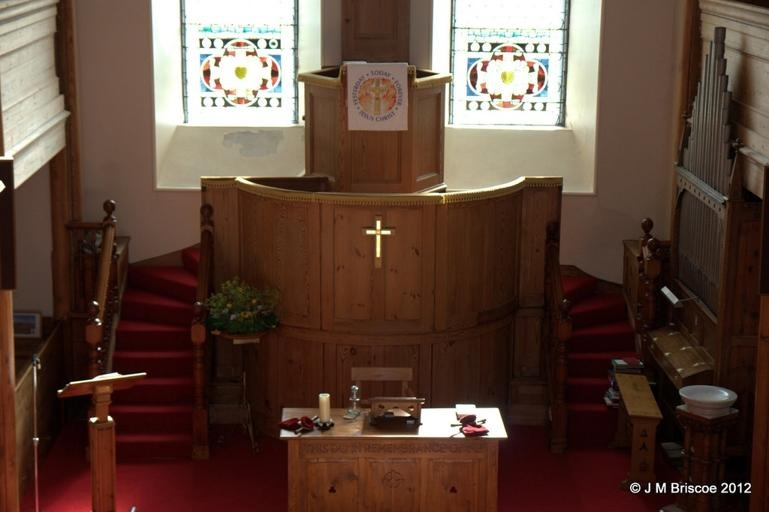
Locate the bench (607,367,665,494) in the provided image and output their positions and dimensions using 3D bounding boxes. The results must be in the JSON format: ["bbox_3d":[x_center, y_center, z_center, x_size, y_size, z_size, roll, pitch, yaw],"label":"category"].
[{"bbox_3d":[3.326,2.373,9.073,0.394,0.965,1.193,1,21,3],"label":"bench"}]

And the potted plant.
[{"bbox_3d":[-1.924,0.732,9.324,0.709,0.473,0.781,0,10,-4],"label":"potted plant"}]

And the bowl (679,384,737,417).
[{"bbox_3d":[3.761,1.680,7.909,0.614,0.302,0.411,-2,3,8],"label":"bowl"}]
